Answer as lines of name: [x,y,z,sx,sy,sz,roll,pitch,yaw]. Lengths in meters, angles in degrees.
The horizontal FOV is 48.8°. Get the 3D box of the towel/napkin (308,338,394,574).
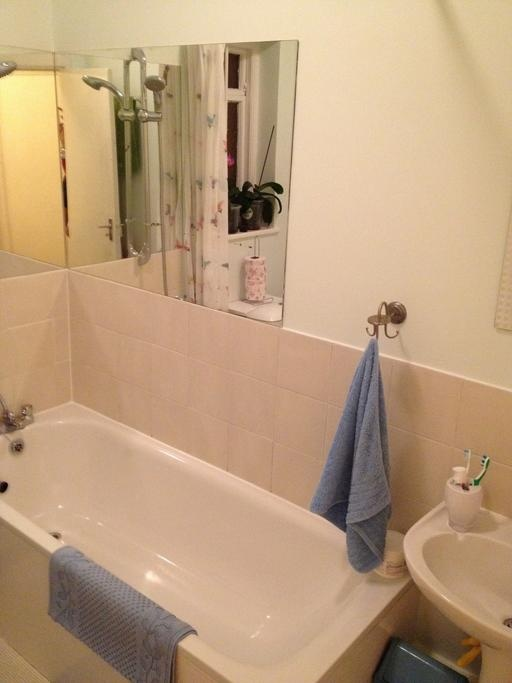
towel/napkin: [0.265,0.319,1.536,0.214,0.671,0.140,6,14,16]

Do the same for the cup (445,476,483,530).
cup: [0.504,0.400,1.432,0.096,0.120,0.111,1,21,5]
